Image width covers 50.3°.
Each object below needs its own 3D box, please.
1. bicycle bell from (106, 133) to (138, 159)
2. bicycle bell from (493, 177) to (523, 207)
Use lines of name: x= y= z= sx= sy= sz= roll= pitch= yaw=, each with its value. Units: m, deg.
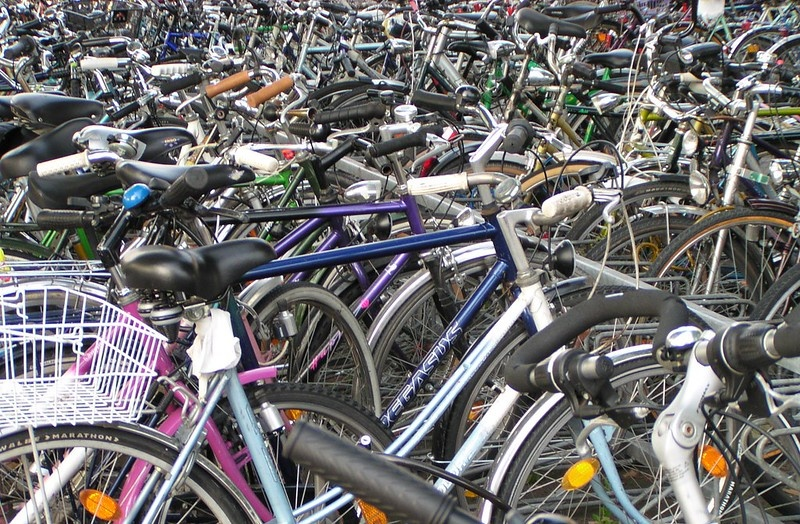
bicycle bell: x=-1.220 y=-0.507 z=3.767 sx=0.112 sy=0.047 sz=0.097 roll=31 pitch=29 yaw=21
bicycle bell: x=0.508 y=-0.336 z=4.058 sx=0.039 sy=0.112 sz=0.115 roll=31 pitch=33 yaw=-33
